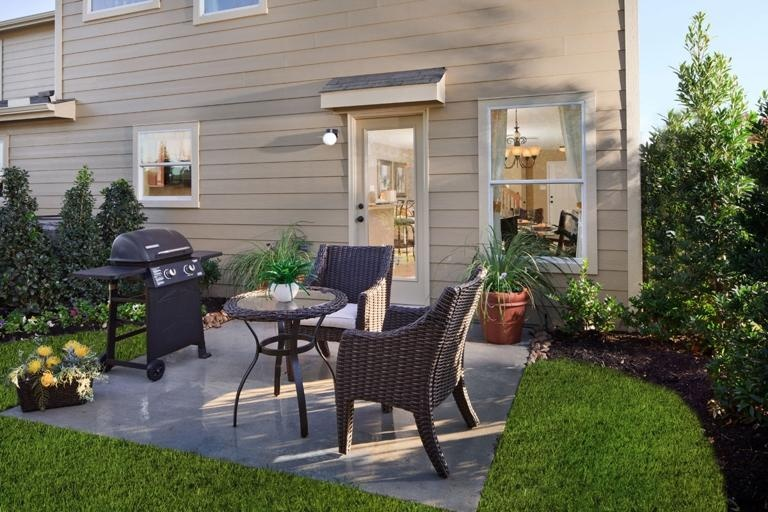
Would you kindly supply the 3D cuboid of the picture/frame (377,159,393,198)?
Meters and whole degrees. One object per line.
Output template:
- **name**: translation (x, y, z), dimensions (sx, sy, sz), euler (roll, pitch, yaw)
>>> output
- **picture/frame**: translation (0.010, -1.003, 7.366), dimensions (0.211, 0.492, 0.034), euler (1, 2, 31)

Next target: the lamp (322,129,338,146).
- **lamp**: translation (-0.719, -1.574, 7.415), dimensions (0.194, 0.172, 0.219), euler (0, 27, -3)

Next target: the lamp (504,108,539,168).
- **lamp**: translation (1.608, -1.470, 6.824), dimensions (0.497, 0.780, 0.436), euler (-6, 6, -20)

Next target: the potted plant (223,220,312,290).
- **potted plant**: translation (-1.664, 0.042, 7.688), dimensions (1.083, 0.611, 1.093), euler (-17, 4, 30)

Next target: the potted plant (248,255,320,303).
- **potted plant**: translation (-0.882, 0.198, 5.100), dimensions (0.409, 0.315, 0.418), euler (0, 1, -10)

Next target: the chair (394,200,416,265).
- **chair**: translation (0.261, -0.345, 7.323), dimensions (0.324, 0.784, 0.393), euler (-4, -3, 27)

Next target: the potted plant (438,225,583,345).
- **potted plant**: translation (1.342, 0.396, 6.558), dimensions (1.227, 0.960, 1.034), euler (2, 2, 11)

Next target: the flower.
- **flower**: translation (-2.849, 1.060, 4.892), dimensions (0.637, 0.473, 0.618), euler (1, 5, -20)

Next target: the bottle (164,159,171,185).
- **bottle**: translation (-3.301, -1.289, 8.585), dimensions (0.185, 0.392, 0.072), euler (1, 2, 40)

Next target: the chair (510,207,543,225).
- **chair**: translation (1.758, -0.484, 6.829), dimensions (0.246, 0.183, 0.207), euler (-1, 3, -1)
